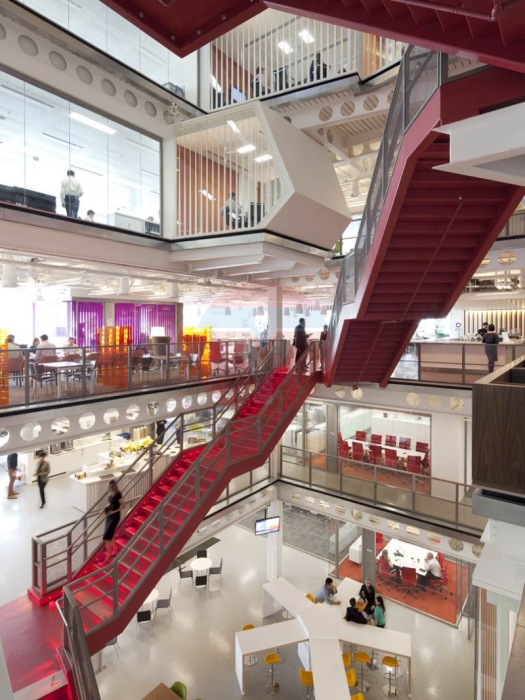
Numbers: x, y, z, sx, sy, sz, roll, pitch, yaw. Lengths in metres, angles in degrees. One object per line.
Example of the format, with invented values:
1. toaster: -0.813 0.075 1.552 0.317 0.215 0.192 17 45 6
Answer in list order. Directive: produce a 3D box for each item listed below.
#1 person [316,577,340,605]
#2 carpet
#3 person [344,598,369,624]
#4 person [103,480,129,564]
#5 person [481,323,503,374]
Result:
1. person: 1.484 5.422 11.756 0.379 1.006 0.385 -9 33 -1
2. carpet: 2.212 2.682 11.713 3.052 0.796 2.091 4 2 19
3. person: 1.847 5.050 10.114 0.414 0.384 0.966 3 2 12
4. person: -2.537 2.813 8.848 0.317 1.497 1.279 2 2 -16
5. person: 4.556 -0.043 10.352 0.280 0.871 1.145 3 2 24
